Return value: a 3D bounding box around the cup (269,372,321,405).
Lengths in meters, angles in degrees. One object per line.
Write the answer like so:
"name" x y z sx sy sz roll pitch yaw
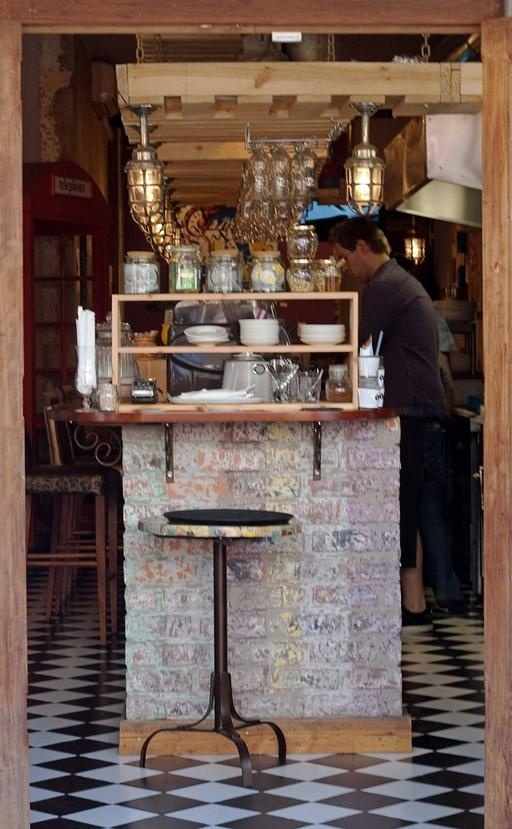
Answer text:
"cup" 0.153 -0.094 3.608 0.139 0.112 0.123 1 -1 10

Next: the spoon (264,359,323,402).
"spoon" 0.150 -0.124 3.655 0.183 0.178 0.156 -1 -1 19

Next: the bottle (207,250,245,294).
"bottle" -0.120 -0.551 3.704 0.151 0.189 0.153 0 2 0

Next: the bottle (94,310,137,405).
"bottle" -0.602 -0.233 3.943 0.195 0.383 0.206 -2 -6 0

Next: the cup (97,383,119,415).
"cup" -0.537 -0.056 3.427 0.070 0.106 0.094 0 -2 -2

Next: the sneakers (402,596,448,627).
"sneakers" 0.931 1.112 5.224 0.137 0.171 0.434 -2 -7 13

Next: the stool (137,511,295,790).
"stool" -0.126 0.741 2.973 0.509 0.662 0.662 -1 0 -8

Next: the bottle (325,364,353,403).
"bottle" 0.308 -0.116 3.563 0.119 0.234 0.118 0 -2 0

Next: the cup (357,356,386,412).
"cup" 0.425 -0.125 3.492 0.148 0.258 0.160 -1 0 0

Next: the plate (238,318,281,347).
"plate" 0.004 -0.307 3.630 0.107 0.080 0.118 1 2 -1

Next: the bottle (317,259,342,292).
"bottle" 0.291 -0.555 3.752 0.117 0.148 0.115 -1 4 0

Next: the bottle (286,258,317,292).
"bottle" 0.183 -0.552 3.747 0.119 0.154 0.120 -2 4 0

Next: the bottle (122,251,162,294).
"bottle" -0.441 -0.544 3.624 0.156 0.202 0.141 0 3 17

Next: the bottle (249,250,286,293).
"bottle" 0.040 -0.540 3.598 0.112 0.165 0.162 0 0 -4

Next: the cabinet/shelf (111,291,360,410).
"cabinet/shelf" -0.075 -0.238 3.806 0.957 0.383 1.376 -1 0 5

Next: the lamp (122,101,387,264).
"lamp" 0.032 -0.984 4.302 0.838 0.461 1.203 -1 2 -2

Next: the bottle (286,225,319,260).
"bottle" 0.196 -0.707 3.872 0.143 0.154 0.151 -1 4 -8

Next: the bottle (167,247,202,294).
"bottle" -0.280 -0.564 3.722 0.151 0.231 0.160 0 -2 0

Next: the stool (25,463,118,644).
"stool" -1.063 0.731 5.134 0.600 0.879 0.611 0 1 -42
